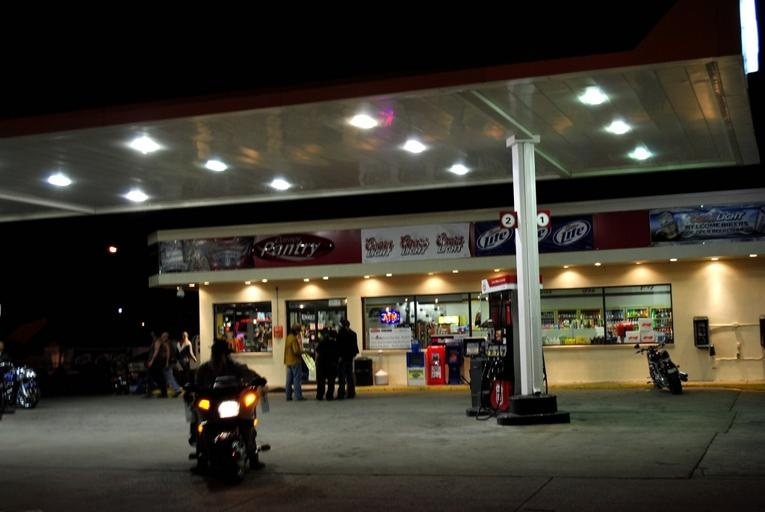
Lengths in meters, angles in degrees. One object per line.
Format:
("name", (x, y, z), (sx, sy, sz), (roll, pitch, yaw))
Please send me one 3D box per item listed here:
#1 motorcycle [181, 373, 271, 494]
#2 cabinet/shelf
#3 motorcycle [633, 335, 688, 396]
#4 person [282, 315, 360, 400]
("motorcycle", (-2.211, 2.465, 9.007), (0.957, 1.456, 0.997), (-1, -5, -7))
("cabinet/shelf", (7.331, 2.326, 20.564), (3.967, 1.186, 0.341), (-3, -5, 17))
("motorcycle", (7.873, 3.082, 17.565), (0.958, 1.374, 2.209), (-15, -6, 10))
("person", (-1.402, 3.067, 18.449), (0.712, 2.280, 1.275), (-5, -6, 40))
